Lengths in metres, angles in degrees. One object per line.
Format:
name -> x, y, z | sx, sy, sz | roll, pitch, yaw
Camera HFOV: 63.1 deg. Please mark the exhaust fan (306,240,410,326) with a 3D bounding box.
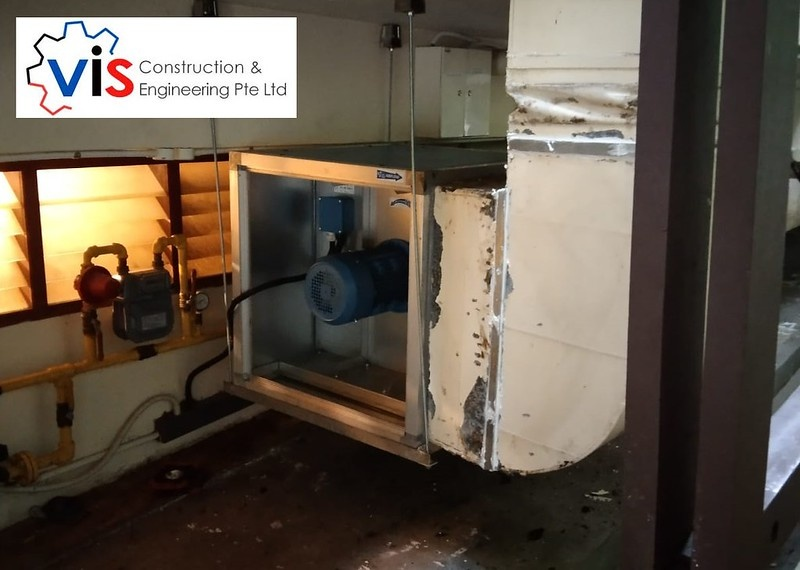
exhaust fan -> -0.262, -0.046, 3.459 | 0.422, 0.450, 0.463 | 8, 14, 39
